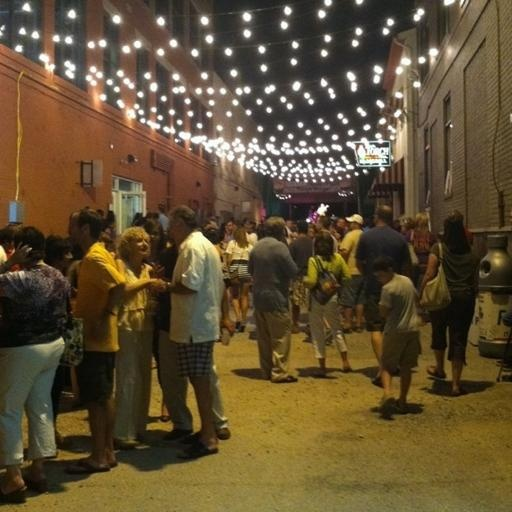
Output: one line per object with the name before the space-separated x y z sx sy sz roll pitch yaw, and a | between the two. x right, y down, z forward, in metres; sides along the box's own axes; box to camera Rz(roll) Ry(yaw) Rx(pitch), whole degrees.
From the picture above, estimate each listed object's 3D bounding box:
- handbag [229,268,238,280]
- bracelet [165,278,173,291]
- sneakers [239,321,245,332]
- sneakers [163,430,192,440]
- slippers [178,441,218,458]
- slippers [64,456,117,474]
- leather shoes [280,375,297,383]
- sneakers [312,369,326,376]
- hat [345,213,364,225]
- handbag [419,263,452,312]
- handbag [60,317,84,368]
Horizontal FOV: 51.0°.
handbag | -0.424 0.363 10.656 0.121 0.075 0.193 0 23 0
bracelet | -0.710 0.237 4.392 0.063 0.077 0.070 1 -7 5
sneakers | -0.246 1.429 10.767 0.054 0.198 0.079 0 22 -5
sneakers | -0.698 1.603 4.790 0.168 0.062 0.110 2 14 -6
slippers | -0.464 1.554 4.314 0.271 0.097 0.107 11 -6 -27
slippers | -1.218 1.533 3.950 0.294 0.098 0.135 8 -12 -10
leather shoes | 0.442 1.582 6.940 0.083 0.095 0.227 4 -9 -36
sneakers | 0.881 1.590 7.283 0.139 0.107 0.086 7 3 37
hat | 1.915 -0.721 10.222 0.261 0.170 0.192 10 7 7
handbag | 2.115 0.402 6.228 0.190 0.445 0.343 -2 -14 -21
handbag | -1.337 0.617 3.873 0.159 0.338 0.100 -2 -2 -19
